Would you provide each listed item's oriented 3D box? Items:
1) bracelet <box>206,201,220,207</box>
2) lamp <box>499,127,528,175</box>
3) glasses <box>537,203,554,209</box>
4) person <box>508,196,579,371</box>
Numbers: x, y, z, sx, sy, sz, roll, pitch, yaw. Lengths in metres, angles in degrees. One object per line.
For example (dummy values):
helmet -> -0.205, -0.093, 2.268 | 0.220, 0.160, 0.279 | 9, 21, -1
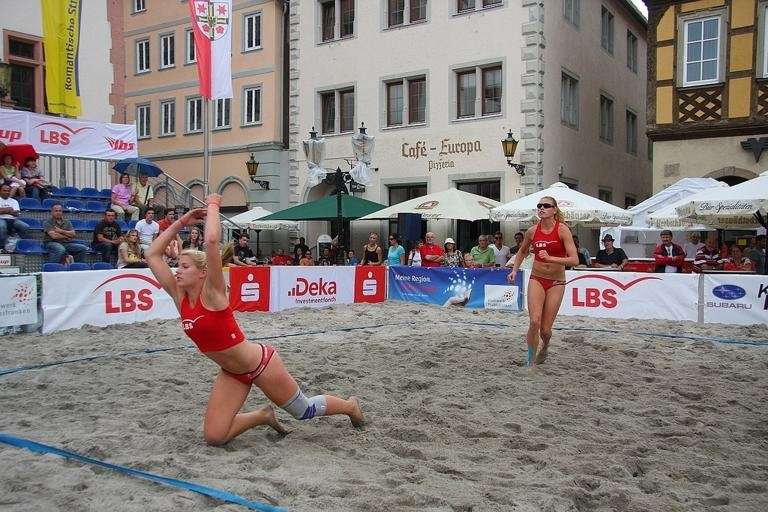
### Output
bracelet -> -2.466, -0.741, 11.984 | 0.183, 0.091, 0.170 | -4, 15, -15
lamp -> 3.799, -3.067, 25.181 | 0.767, 1.345, 0.894 | 10, 17, 35
glasses -> 2.881, -0.876, 14.701 | 0.325, 0.128, 0.153 | 0, 14, 0
person -> 2.839, 0.496, 14.783 | 1.026, 2.974, 1.248 | 2, 14, 9
